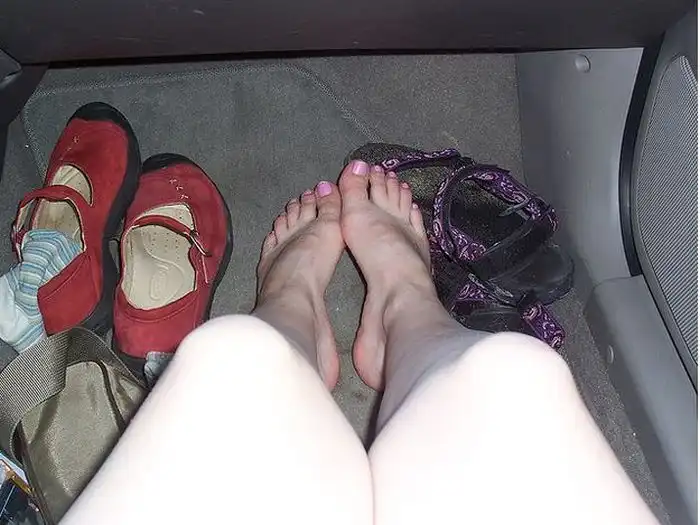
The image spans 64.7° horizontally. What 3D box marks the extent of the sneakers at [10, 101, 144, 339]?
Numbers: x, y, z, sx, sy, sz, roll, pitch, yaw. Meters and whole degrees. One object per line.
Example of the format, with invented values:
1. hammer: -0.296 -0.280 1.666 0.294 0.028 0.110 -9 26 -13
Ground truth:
1. sneakers: -0.553 -0.136 1.212 0.185 0.199 0.570 7 78 -7

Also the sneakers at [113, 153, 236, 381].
1. sneakers: -0.387 -0.006 1.279 0.230 0.529 0.178 5 -10 -5
